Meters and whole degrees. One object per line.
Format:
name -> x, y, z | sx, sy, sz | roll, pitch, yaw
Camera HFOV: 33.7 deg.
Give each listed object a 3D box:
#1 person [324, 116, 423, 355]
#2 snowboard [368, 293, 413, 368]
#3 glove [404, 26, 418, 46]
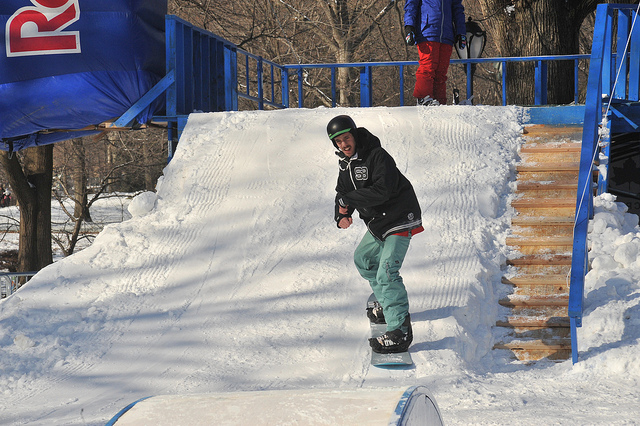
person -> 0.911, 0.339, 16.196 | 1.267, 3.484, 0.545 | -7, 1, 0
snowboard -> 1.028, 1.832, 15.801 | 0.591, 0.311, 1.879 | -1, -35, 6
glove -> 1.693, -3.347, 19.805 | 0.099, 0.325, 0.248 | -22, -12, -4
